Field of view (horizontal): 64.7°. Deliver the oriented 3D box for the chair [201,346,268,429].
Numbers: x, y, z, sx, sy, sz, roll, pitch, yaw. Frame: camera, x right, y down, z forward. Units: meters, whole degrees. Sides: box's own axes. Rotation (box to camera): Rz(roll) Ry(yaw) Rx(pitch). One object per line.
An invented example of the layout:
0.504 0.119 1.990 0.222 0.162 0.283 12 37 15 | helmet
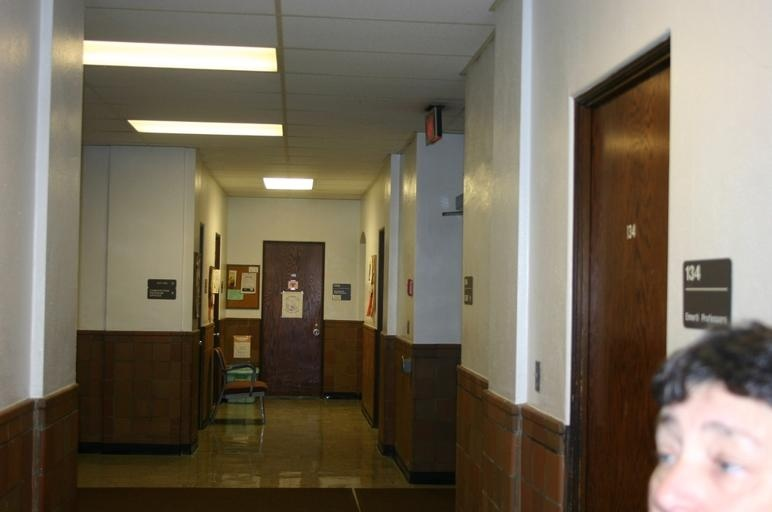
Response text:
-2.020 1.753 8.310 0.764 0.942 0.684 0 -5 -10 | chair
